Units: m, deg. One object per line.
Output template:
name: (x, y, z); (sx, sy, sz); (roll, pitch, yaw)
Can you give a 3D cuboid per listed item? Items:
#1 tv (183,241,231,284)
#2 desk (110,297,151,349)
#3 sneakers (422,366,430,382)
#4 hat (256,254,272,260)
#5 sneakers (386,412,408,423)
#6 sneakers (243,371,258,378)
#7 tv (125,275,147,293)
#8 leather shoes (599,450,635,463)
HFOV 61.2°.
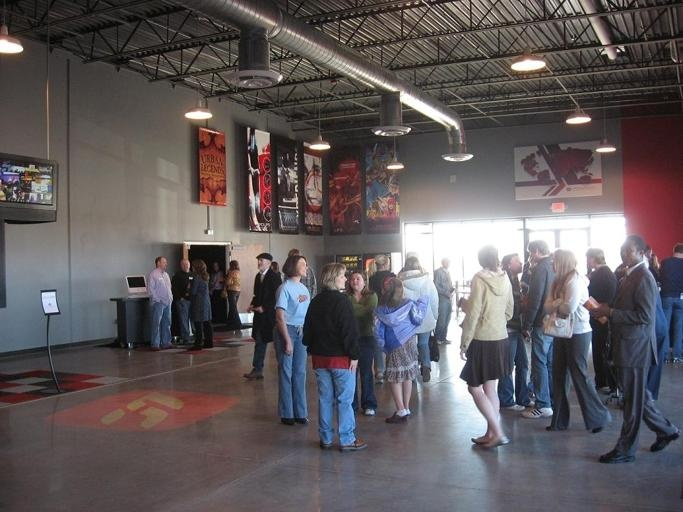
tv: (-3.570, 0.099, 15.270); (1.207, 1.241, 0.908); (0, -1, -11)
desk: (-4.300, 1.352, 11.988); (0.425, 0.973, 1.010); (-5, -6, 14)
sneakers: (1.202, 1.683, 8.217); (0.129, 0.160, 0.366); (1, -5, 6)
hat: (-1.080, 0.007, 7.997); (0.152, 0.060, 0.117); (6, -4, 5)
sneakers: (0.599, 1.766, 6.338); (0.189, 0.089, 0.105); (2, 0, 10)
sneakers: (-1.349, 1.757, 8.503); (0.184, 0.089, 0.098); (2, -2, 6)
tv: (-4.463, 0.627, 12.563); (0.392, 0.381, 0.519); (-2, 2, -19)
leather shoes: (2.460, 1.781, 5.115); (0.248, 0.116, 0.128); (4, -5, 6)
